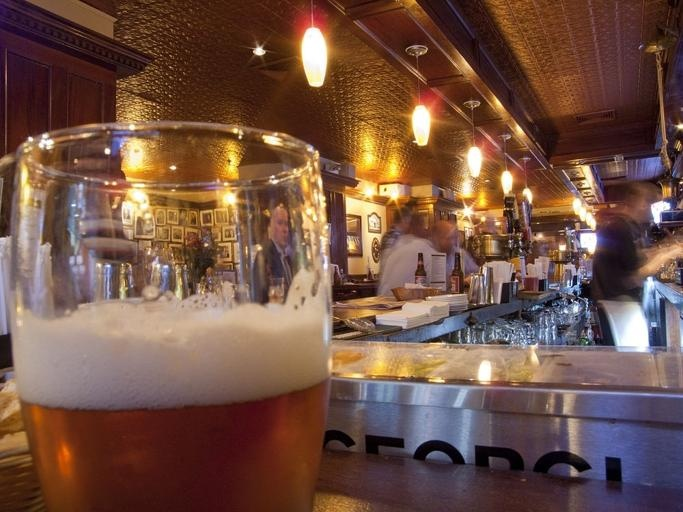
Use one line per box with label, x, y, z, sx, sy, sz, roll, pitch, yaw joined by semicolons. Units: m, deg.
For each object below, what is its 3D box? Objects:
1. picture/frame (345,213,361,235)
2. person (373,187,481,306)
picture/frame;0.283;-0.691;10.728;0.111;0.448;0.650;0;3;24
person;0.892;-0.091;5.581;0.896;0.935;2.415;-1;3;10
